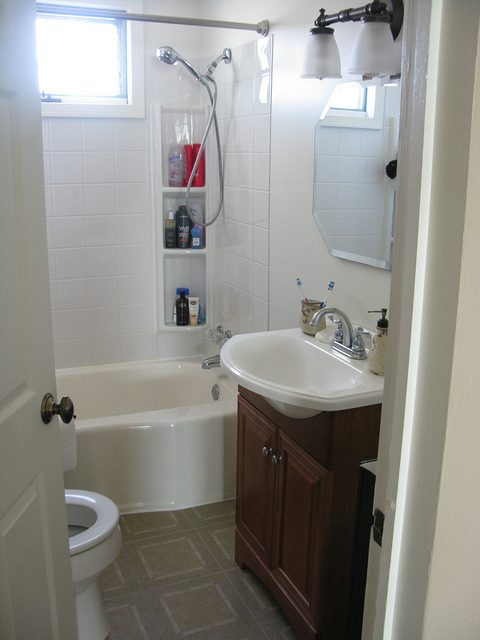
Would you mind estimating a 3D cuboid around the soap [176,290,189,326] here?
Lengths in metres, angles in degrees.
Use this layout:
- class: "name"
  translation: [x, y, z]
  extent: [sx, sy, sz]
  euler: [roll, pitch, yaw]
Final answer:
- class: "soap"
  translation: [-0.350, -0.073, 2.922]
  extent: [0.076, 0.214, 0.025]
  euler: [-1, 7, -10]

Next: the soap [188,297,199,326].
- class: "soap"
  translation: [-0.283, -0.053, 2.930]
  extent: [0.065, 0.168, 0.055]
  euler: [-1, 7, -10]

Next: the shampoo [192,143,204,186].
- class: "shampoo"
  translation: [-0.243, -0.892, 2.787]
  extent: [0.053, 0.285, 0.053]
  euler: [0, -19, -5]

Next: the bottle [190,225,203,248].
- class: "bottle"
  translation: [-0.263, -0.498, 2.844]
  extent: [0.073, 0.205, 0.054]
  euler: [-1, 6, -8]

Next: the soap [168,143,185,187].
- class: "soap"
  translation: [-0.363, -0.866, 2.786]
  extent: [0.081, 0.299, 0.104]
  euler: [0, -16, -10]

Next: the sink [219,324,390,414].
- class: "sink"
  translation: [0.174, 0.137, 1.477]
  extent: [0.434, 0.227, 0.596]
  euler: [-3, 10, -18]

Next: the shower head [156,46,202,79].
- class: "shower head"
  translation: [-0.323, -1.301, 2.488]
  extent: [0.124, 0.114, 0.248]
  euler: [39, 33, 9]

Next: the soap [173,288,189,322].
- class: "soap"
  translation: [-0.361, -0.092, 2.939]
  extent: [0.070, 0.290, 0.073]
  euler: [-3, 21, -20]

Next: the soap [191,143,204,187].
- class: "soap"
  translation: [-0.244, -0.890, 2.761]
  extent: [0.073, 0.243, 0.051]
  euler: [-1, 7, -8]

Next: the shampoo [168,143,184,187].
- class: "shampoo"
  translation: [-0.371, -0.939, 2.771]
  extent: [0.094, 0.130, 0.297]
  euler: [-7, -33, -14]

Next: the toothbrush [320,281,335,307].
- class: "toothbrush"
  translation: [0.328, -0.099, 1.802]
  extent: [0.019, 0.106, 0.016]
  euler: [12, 4, 9]

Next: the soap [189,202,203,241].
- class: "soap"
  translation: [-0.265, -0.593, 2.851]
  extent: [0.041, 0.225, 0.069]
  euler: [-3, 12, 3]

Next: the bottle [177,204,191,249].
- class: "bottle"
  translation: [-0.314, -0.546, 2.798]
  extent: [0.079, 0.259, 0.188]
  euler: [-4, 9, -25]
